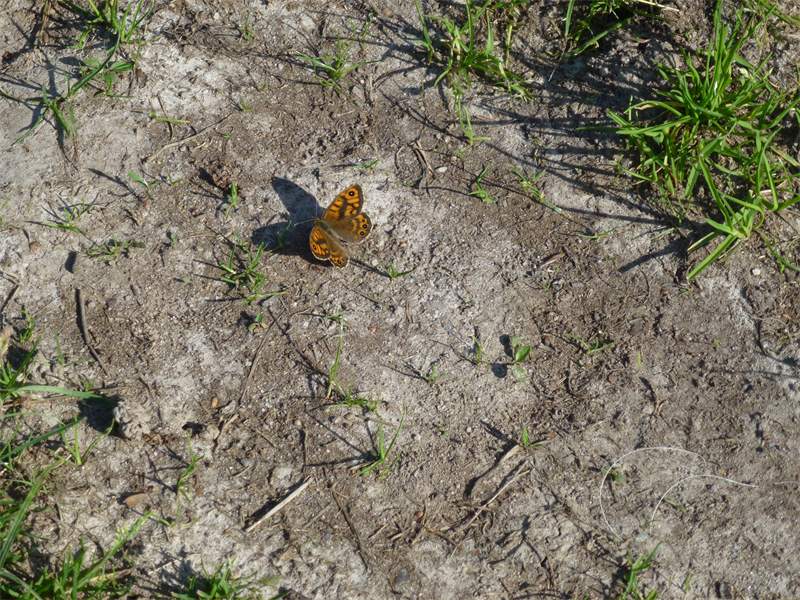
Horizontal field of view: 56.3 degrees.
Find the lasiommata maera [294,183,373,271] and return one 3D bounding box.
[{"bbox_3d":[-0.405,-0.481,5.169,0.502,0.300,0.353,-39,85,-7],"label":"lasiommata maera"}]
